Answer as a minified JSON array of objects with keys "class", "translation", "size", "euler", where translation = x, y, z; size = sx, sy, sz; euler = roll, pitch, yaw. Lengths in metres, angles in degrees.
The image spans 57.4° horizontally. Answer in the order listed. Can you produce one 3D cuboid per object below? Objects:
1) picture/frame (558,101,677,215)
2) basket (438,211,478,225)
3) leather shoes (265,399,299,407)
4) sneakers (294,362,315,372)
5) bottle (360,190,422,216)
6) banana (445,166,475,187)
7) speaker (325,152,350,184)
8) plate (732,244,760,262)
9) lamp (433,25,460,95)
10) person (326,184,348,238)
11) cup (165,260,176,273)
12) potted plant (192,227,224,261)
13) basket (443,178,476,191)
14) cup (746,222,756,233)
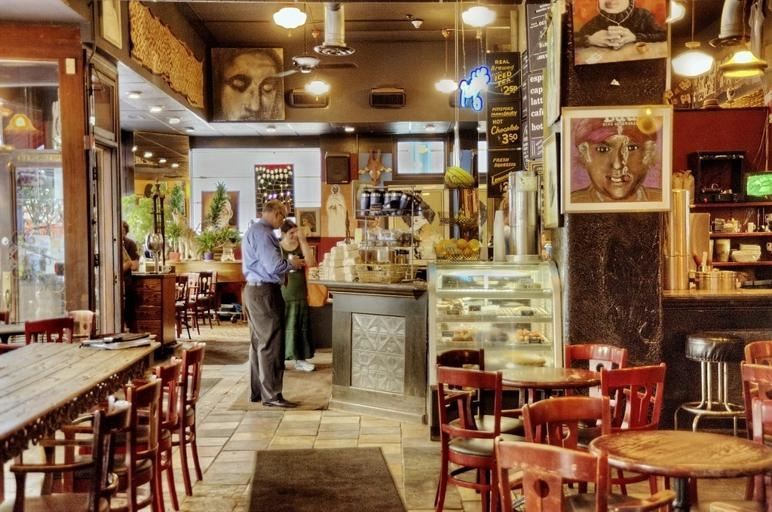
[{"class":"picture/frame","translation":[2.302,-0.995,7.039],"size":[1.246,1.078,0.053],"euler":[0,0,1]},{"class":"basket","translation":[0.894,-0.470,8.595],"size":[0.359,0.085,0.355],"euler":[1,1,29]},{"class":"leather shoes","translation":[-1.233,1.734,8.358],"size":[0.387,0.099,0.132],"euler":[-1,-4,5]},{"class":"sneakers","translation":[-1.152,1.594,10.146],"size":[0.325,0.126,0.113],"euler":[-1,-1,16]},{"class":"bottle","translation":[0.030,-0.618,8.200],"size":[0.469,0.203,0.387],"euler":[1,1,3]},{"class":"banana","translation":[0.843,-0.887,8.094],"size":[0.312,0.170,0.230],"euler":[14,10,2]},{"class":"speaker","translation":[-1.077,-1.979,15.741],"size":[0.711,0.694,0.377],"euler":[1,2,0]},{"class":"plate","translation":[5.549,-0.019,10.848],"size":[0.359,0.220,0.285],"euler":[0,-2,7]},{"class":"lamp","translation":[1.137,-3.676,13.272],"size":[0.654,1.135,0.627],"euler":[1,16,12]},{"class":"person","translation":[-1.067,-1.004,15.858],"size":[0.550,1.168,0.198],"euler":[4,8,34]},{"class":"cup","translation":[-4.070,0.197,13.356],"size":[0.160,0.179,0.276],"euler":[-1,0,-4]},{"class":"potted plant","translation":[-3.909,-0.268,15.241],"size":[0.711,0.688,0.688],"euler":[-5,8,-42]},{"class":"basket","translation":[0.879,-0.852,8.302],"size":[0.453,0.149,0.430],"euler":[0,-4,-1]},{"class":"cup","translation":[5.756,-0.463,11.132],"size":[0.126,0.143,0.398],"euler":[3,7,28]}]
